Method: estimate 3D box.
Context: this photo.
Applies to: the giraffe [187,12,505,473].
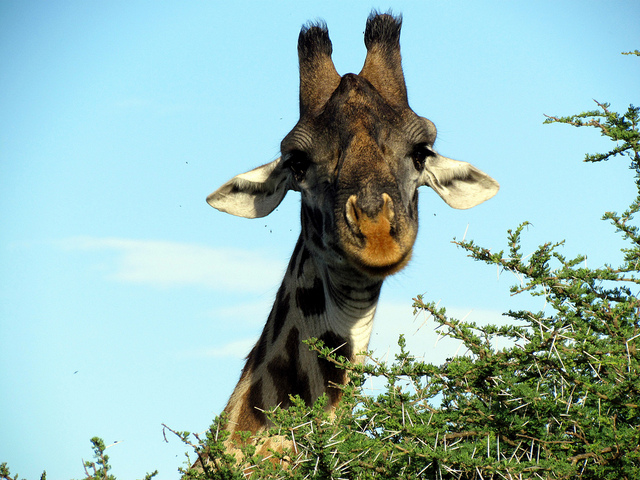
[{"bbox_3d":[0.018,0.111,12.957,2.533,5.650,2.207,-11,-37,17],"label":"giraffe"}]
